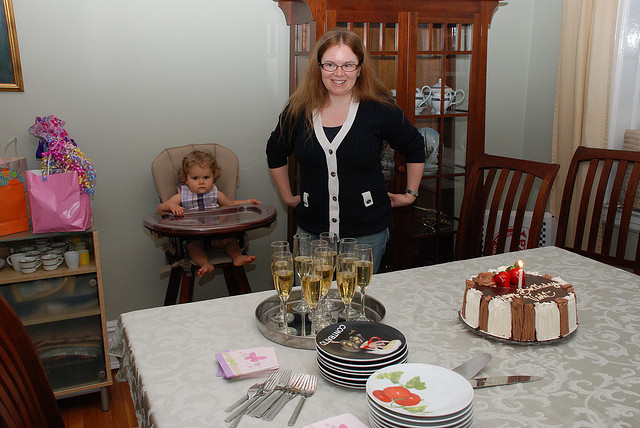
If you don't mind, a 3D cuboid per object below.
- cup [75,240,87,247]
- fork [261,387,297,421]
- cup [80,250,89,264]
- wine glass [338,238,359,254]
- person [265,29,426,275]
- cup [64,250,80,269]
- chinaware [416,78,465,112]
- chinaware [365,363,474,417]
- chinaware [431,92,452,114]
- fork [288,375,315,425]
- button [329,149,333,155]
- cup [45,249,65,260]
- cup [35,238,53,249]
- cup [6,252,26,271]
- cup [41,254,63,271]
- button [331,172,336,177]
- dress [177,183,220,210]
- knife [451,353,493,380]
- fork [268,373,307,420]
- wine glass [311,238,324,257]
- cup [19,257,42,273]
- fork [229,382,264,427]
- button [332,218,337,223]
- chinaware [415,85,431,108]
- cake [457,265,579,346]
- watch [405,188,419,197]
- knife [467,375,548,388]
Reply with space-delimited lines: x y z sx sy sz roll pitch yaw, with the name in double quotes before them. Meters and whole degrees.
"cup" -1.432 0.174 2.503 0.060 0.031 0.047 -11 19 -22
"fork" -0.111 0.522 1.174 0.033 0.014 0.189 6 18 22
"cup" -1.380 0.254 2.459 0.062 0.072 0.064 3 7 0
"wine glass" 0.108 0.111 1.519 0.054 0.056 0.056 1 4 -1
"person" 0.096 -0.359 2.314 0.920 1.216 0.562 1 18 16
"cup" -1.422 0.258 2.408 0.084 0.098 0.087 2 6 0
"chinaware" 0.843 -0.766 2.903 0.326 0.236 0.205 -1 23 0
"chinaware" 0.258 0.436 1.120 0.160 0.078 0.209 -2 15 -16
"chinaware" 0.823 -0.770 2.914 0.138 0.141 0.133 -2 16 -2
"fork" -0.052 0.519 1.150 0.025 0.022 0.159 -5 39 22
"button" 0.054 -0.324 2.167 0.023 0.024 0.006 -2 7 27
"cup" -1.554 0.241 2.460 0.062 0.041 0.093 4 -1 44
"cup" -1.651 0.168 2.497 0.067 0.068 0.070 2 9 0
"cup" -1.730 0.273 2.377 0.107 0.104 0.072 3 11 -9
"cup" -1.530 0.277 2.385 0.092 0.069 0.075 5 7 -31
"button" 0.070 -0.208 2.191 0.022 0.024 0.005 3 8 8
"dress" -0.797 -0.116 2.713 0.269 0.154 0.263 -6 -27 -25
"knife" 0.459 0.456 1.266 0.046 0.029 0.197 26 25 38
"fork" -0.077 0.510 1.203 0.031 0.031 0.224 -4 27 30
"wine glass" -0.014 0.122 1.506 0.046 0.081 0.049 1 7 14
"cup" -1.624 0.285 2.349 0.058 0.067 0.088 7 5 34
"fork" -0.206 0.506 1.138 0.026 0.019 0.157 3 21 12
"button" 0.075 0.032 2.234 0.021 0.023 0.006 -1 2 18
"chinaware" 0.687 -0.793 2.801 0.130 0.132 0.028 -16 21 -33
"cake" 0.665 0.308 1.418 0.285 0.176 0.291 -8 16 -28
"watch" 0.556 -0.151 2.538 0.063 0.063 0.043 20 21 -14
"knife" 0.546 0.490 1.218 0.253 0.009 0.038 -3 37 -3
